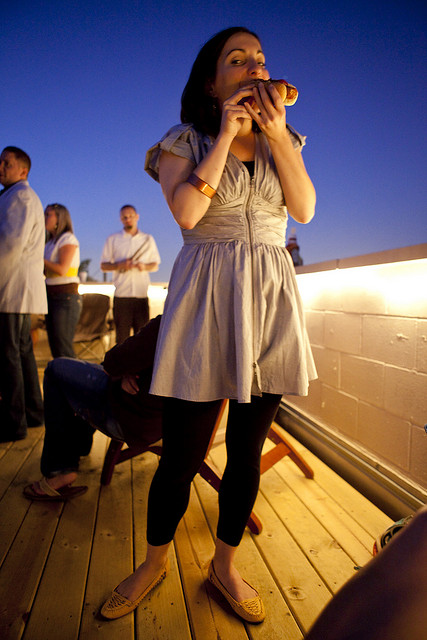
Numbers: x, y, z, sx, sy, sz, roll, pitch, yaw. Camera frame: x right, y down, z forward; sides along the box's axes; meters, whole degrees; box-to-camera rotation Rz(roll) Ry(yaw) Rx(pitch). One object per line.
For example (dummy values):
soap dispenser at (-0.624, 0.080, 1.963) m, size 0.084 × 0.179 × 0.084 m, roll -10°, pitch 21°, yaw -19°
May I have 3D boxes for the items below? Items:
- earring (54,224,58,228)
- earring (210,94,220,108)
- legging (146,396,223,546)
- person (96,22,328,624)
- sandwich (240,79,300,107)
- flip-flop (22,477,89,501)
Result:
earring at (-1.200, -0.712, 3.066) m, size 0.031 × 0.019 × 0.007 m, roll -10°, pitch 17°, yaw -32°
earring at (0.004, -0.565, 1.045) m, size 0.026 × 0.024 × 0.024 m, roll 1°, pitch 2°, yaw -14°
legging at (-0.094, 0.406, 1.055) m, size 0.196 × 0.432 × 0.106 m, roll 2°, pitch 2°, yaw 23°
person at (0.048, 0.022, 1.295) m, size 0.551 × 1.634 × 0.861 m, roll 2°, pitch 2°, yaw 14°
sandwich at (0.120, -0.497, 0.870) m, size 0.102 × 0.041 × 0.081 m, roll 23°, pitch 14°, yaw 17°
flip-flop at (-0.705, 0.734, 1.776) m, size 0.265 × 0.091 × 0.080 m, roll 2°, pitch 2°, yaw -7°
